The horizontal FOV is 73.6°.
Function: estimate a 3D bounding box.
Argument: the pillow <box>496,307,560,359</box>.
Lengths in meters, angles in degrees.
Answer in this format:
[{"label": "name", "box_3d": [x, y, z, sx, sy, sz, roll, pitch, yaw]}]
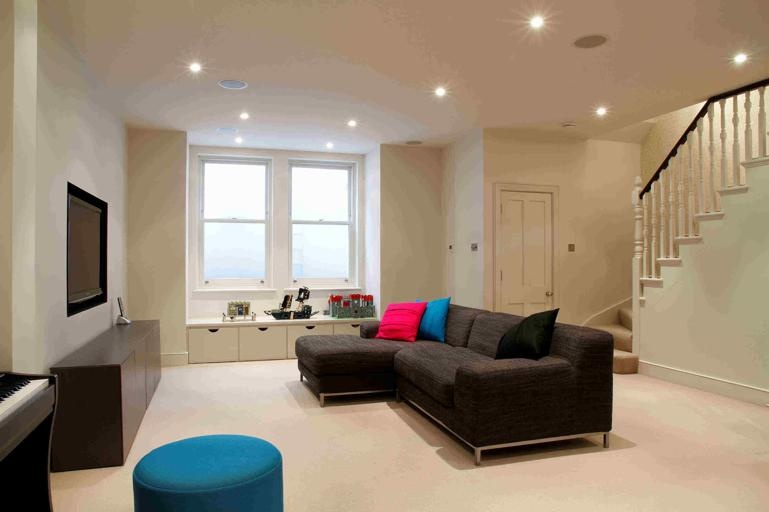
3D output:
[{"label": "pillow", "box_3d": [1.290, 0.687, 4.549, 0.151, 0.480, 0.492, 27, -25, -14]}]
